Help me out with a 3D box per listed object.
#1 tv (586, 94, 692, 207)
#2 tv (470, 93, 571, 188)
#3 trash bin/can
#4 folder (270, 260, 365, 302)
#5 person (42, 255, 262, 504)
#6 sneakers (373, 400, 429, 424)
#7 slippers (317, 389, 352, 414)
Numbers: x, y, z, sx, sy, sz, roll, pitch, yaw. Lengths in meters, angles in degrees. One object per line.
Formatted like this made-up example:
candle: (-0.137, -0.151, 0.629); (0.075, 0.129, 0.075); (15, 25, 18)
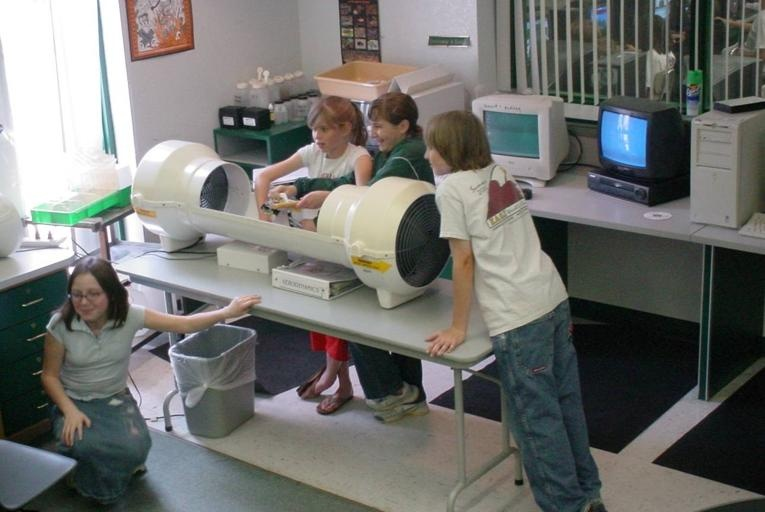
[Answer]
tv: (1.509, -0.636, 3.613); (0.513, 0.500, 0.531); (-12, 25, -4)
tv: (0.928, -0.790, 4.013); (0.553, 0.485, 0.407); (13, 34, 36)
trash bin/can: (-0.869, 0.652, 3.209); (0.371, 0.501, 0.527); (7, 17, 28)
folder: (-0.306, 0.100, 2.909); (0.375, 0.107, 0.228); (7, 24, 29)
person: (-1.106, 0.609, 2.993); (0.949, 1.021, 0.506); (-9, 27, -43)
sneakers: (0.120, 0.826, 3.348); (0.300, 0.116, 0.109); (-8, 13, -18)
slippers: (-0.255, 0.797, 3.393); (0.248, 0.083, 0.098); (-6, 42, -40)
